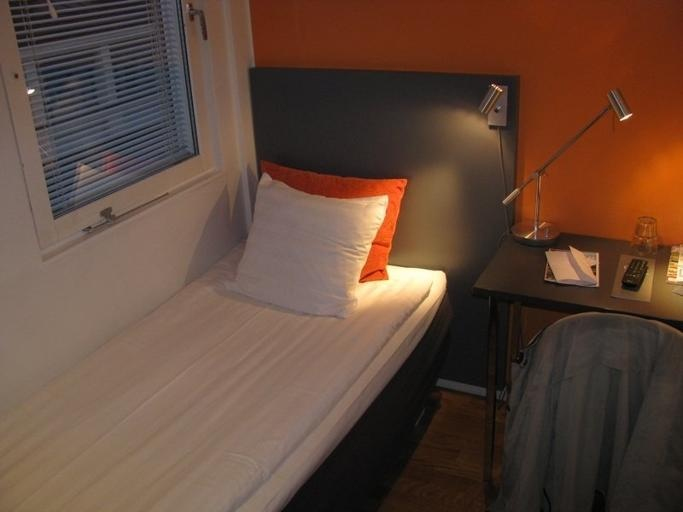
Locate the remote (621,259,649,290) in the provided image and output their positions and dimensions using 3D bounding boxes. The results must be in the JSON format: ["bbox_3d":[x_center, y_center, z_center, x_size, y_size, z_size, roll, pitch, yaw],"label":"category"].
[{"bbox_3d":[1.141,0.069,2.052,0.071,0.035,0.157,12,43,40],"label":"remote"}]

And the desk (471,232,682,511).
[{"bbox_3d":[0.937,0.478,2.604,0.827,1.149,1.174,6,21,17],"label":"desk"}]

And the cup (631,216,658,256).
[{"bbox_3d":[1.243,-0.085,2.224,0.122,0.149,0.132,-2,11,0],"label":"cup"}]

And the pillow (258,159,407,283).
[{"bbox_3d":[-0.060,-0.104,2.731,0.401,0.659,0.237,18,41,15],"label":"pillow"}]

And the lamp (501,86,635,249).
[{"bbox_3d":[0.913,-0.364,2.202,0.409,0.694,0.314,19,23,26],"label":"lamp"}]

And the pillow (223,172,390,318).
[{"bbox_3d":[-0.188,-0.043,2.437,0.641,0.509,0.381,12,17,17],"label":"pillow"}]
